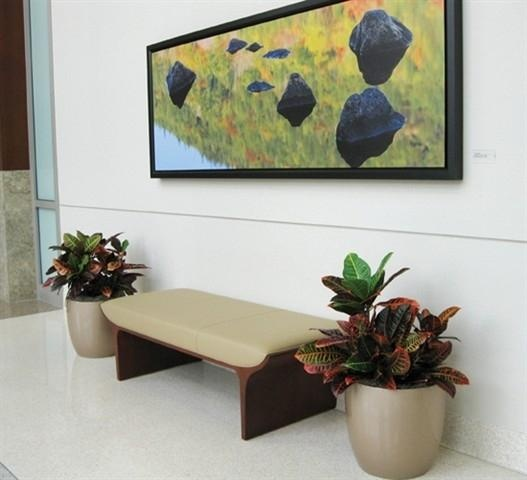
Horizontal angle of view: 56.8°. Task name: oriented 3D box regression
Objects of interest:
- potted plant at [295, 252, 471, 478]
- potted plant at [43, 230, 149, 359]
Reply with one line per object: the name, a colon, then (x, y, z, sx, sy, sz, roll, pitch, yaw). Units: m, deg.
potted plant: (0.513, 0.523, 2.055, 0.644, 0.916, 0.398, 1, 5, 25)
potted plant: (-1.174, 0.328, 3.921, 0.773, 0.999, 0.952, 0, 1, 5)
